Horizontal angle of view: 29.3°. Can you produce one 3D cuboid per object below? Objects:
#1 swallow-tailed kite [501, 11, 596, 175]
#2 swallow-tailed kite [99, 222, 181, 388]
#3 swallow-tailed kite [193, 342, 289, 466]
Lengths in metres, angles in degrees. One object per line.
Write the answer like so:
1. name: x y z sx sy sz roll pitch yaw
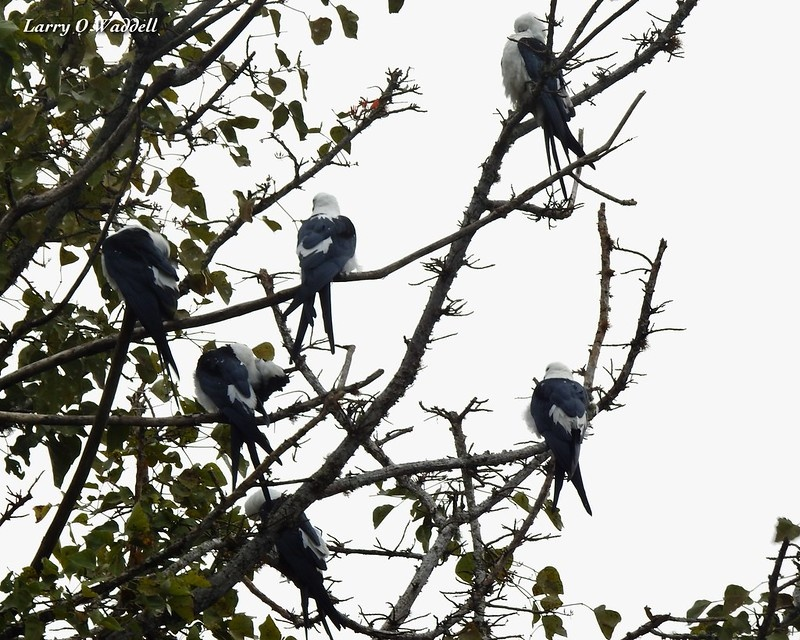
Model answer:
1. swallow-tailed kite: 0.964 -1.499 10.267 0.497 1.186 0.398 6 -19 -14
2. swallow-tailed kite: -1.392 -0.118 8.145 0.357 0.901 0.299 17 -48 -24
3. swallow-tailed kite: -0.920 0.467 8.532 0.419 0.961 0.353 36 -77 -17
